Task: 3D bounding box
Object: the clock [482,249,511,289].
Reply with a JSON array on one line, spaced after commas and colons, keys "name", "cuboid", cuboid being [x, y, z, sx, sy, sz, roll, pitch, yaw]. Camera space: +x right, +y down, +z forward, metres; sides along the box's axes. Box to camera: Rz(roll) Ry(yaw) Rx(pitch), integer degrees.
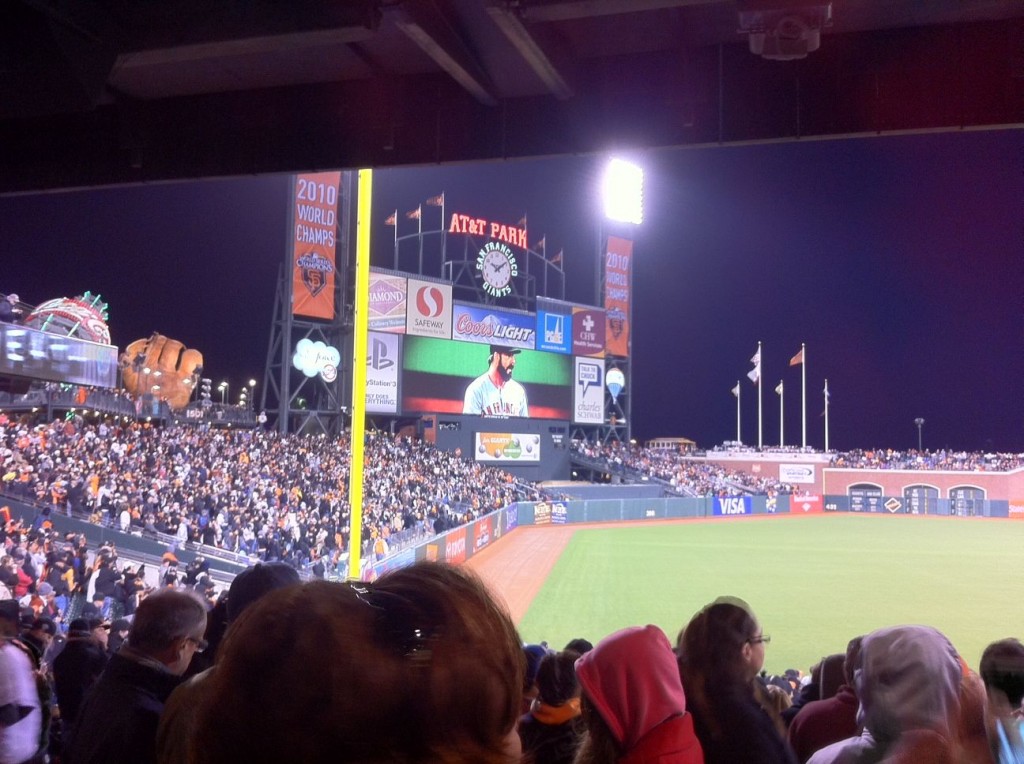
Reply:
[{"name": "clock", "cuboid": [-0.887, -5.304, 41.540, 0.226, 1.890, 1.811, -3, -1, 35]}]
